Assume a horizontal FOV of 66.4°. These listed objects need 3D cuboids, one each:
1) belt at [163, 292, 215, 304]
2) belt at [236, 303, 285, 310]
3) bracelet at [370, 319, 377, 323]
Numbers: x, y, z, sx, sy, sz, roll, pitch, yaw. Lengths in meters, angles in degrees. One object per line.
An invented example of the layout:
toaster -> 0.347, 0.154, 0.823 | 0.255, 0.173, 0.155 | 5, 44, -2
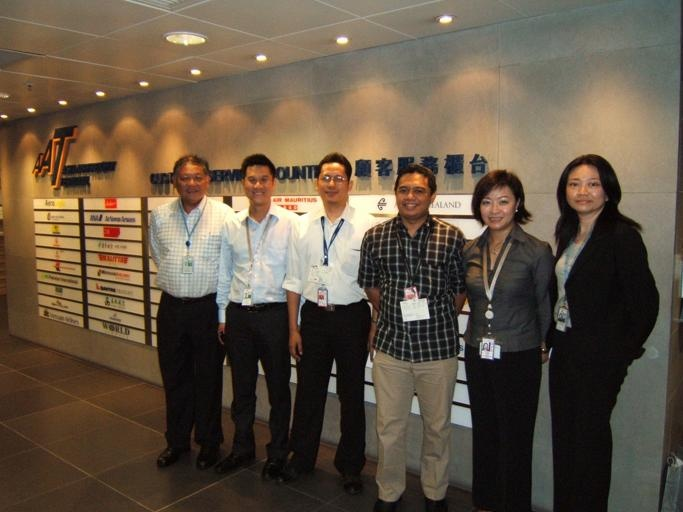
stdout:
belt -> -1.308, 0.351, 4.372 | 0.491, 0.100, 0.108 | 2, 10, 7
belt -> -0.657, 0.397, 4.175 | 0.376, 0.069, 0.071 | 0, 10, -1
bracelet -> 0.247, 0.494, 4.021 | 0.041, 0.033, 0.042 | 1, -1, 6
